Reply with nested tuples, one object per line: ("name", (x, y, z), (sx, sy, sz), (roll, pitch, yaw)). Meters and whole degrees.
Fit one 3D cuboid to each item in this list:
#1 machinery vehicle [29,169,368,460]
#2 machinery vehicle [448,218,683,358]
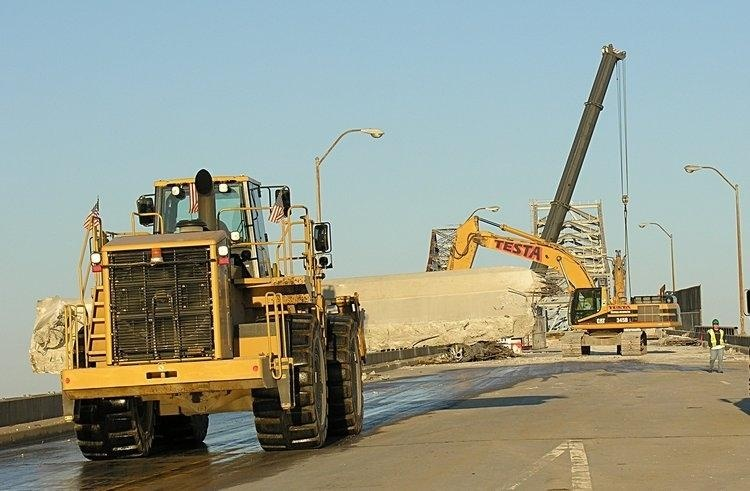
("machinery vehicle", (-3.275, 1.396, 18.743), (5.622, 5.932, 3.761), (-3, -2, -4))
("machinery vehicle", (9.361, 2.292, 47.405), (11.910, 6.372, 4.409), (5, -5, 12))
